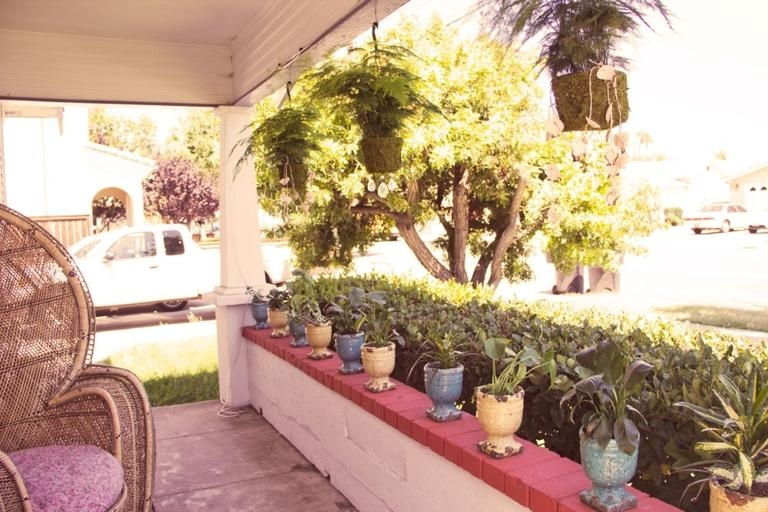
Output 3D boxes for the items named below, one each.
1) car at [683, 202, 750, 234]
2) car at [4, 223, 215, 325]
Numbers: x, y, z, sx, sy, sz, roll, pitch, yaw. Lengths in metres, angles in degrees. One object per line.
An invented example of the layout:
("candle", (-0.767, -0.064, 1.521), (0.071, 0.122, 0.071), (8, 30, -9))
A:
("car", (11.334, -1.266, 18.359), (1.677, 1.016, 1.834), (3, 6, 31))
("car", (-4.291, 0.190, 9.037), (3.380, 1.533, 1.654), (0, -2, -39))
